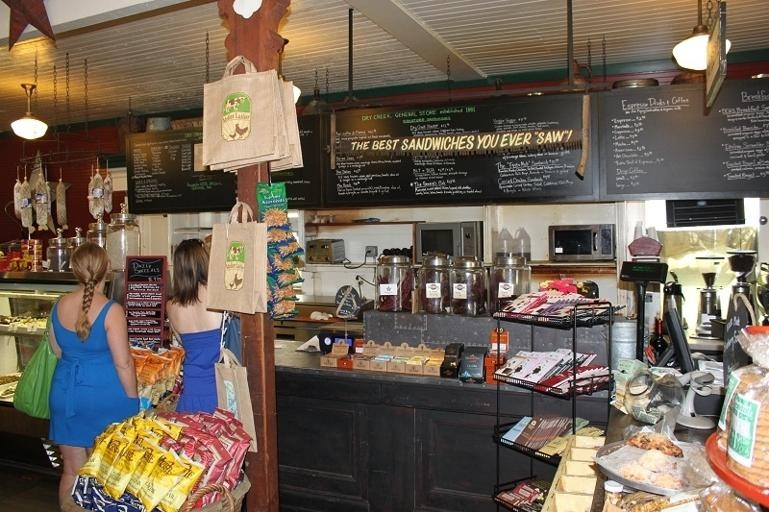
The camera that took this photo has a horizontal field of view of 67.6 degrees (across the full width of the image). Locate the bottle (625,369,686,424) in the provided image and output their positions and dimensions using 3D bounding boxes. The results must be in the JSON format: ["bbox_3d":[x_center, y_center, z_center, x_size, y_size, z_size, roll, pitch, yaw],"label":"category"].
[{"bbox_3d":[1.483,0.769,3.137,0.344,0.334,0.259,-1,26,17],"label":"bottle"}]

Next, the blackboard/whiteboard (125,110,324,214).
[{"bbox_3d":[-1.712,-0.938,6.091,2.082,0.947,0.391,-3,2,5],"label":"blackboard/whiteboard"}]

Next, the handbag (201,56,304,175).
[{"bbox_3d":[-0.750,-0.799,3.217,0.541,0.634,0.290,0,3,25],"label":"handbag"}]

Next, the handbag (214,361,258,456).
[{"bbox_3d":[-0.826,0.833,3.187,0.209,0.572,0.164,-2,3,-15],"label":"handbag"}]

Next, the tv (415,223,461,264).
[{"bbox_3d":[0.615,-0.104,6.866,0.548,0.496,0.363,0,-13,-3],"label":"tv"}]

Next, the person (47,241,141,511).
[{"bbox_3d":[-2.036,0.788,3.969,0.626,1.747,0.308,0,3,25],"label":"person"}]

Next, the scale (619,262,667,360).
[{"bbox_3d":[1.731,0.362,3.842,0.247,0.638,0.316,-1,3,2],"label":"scale"}]

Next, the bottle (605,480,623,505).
[{"bbox_3d":[0.986,1.010,2.468,0.087,0.084,0.086,3,-4,-24],"label":"bottle"}]

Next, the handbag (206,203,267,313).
[{"bbox_3d":[-0.821,0.057,3.159,0.398,0.485,0.087,0,4,32],"label":"handbag"}]

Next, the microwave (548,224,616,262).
[{"bbox_3d":[2.222,-0.104,6.375,0.704,0.442,0.449,-1,-8,32],"label":"microwave"}]

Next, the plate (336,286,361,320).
[{"bbox_3d":[-0.288,0.381,4.631,0.205,0.264,0.069,0,-15,8],"label":"plate"}]

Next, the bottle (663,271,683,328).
[{"bbox_3d":[2.634,0.391,5.141,0.212,0.463,0.208,-1,-1,0],"label":"bottle"}]

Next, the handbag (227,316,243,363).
[{"bbox_3d":[-1.025,0.546,3.881,0.085,0.347,0.403,-3,3,-17],"label":"handbag"}]

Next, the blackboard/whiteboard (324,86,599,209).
[{"bbox_3d":[0.605,-0.884,4.917,2.232,0.884,0.187,0,3,19],"label":"blackboard/whiteboard"}]
